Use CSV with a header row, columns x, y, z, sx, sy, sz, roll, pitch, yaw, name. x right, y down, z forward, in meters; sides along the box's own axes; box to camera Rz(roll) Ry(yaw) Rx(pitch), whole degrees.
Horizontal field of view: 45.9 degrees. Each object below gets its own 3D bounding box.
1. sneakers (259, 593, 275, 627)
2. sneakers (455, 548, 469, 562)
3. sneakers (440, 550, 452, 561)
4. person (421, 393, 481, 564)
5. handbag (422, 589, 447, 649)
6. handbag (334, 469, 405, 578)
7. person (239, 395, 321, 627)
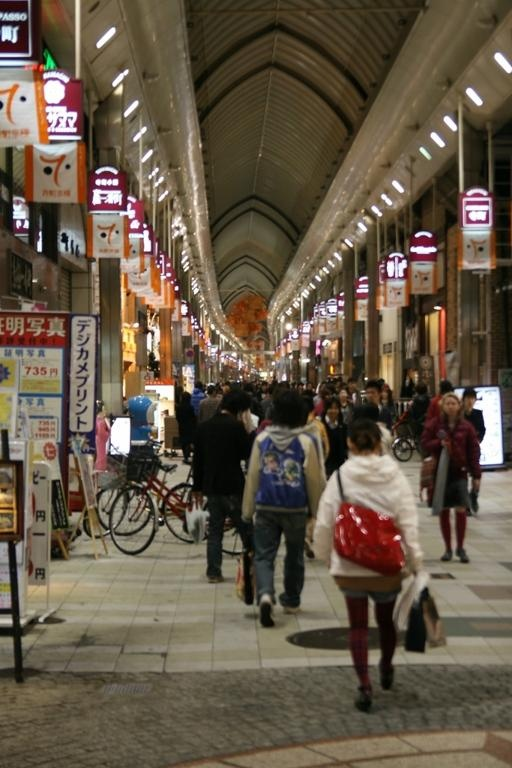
x,y,z,sx,sy,sz,roll,pitch,yaw,name
0.062,1.428,3.730,0.077,0.251,0.105,-1,12,-3,sneakers
1.981,1.645,5.794,0.062,0.086,0.191,-1,-11,-1,sneakers
1.844,1.652,5.859,0.059,0.125,0.170,-4,-9,16,sneakers
1.843,0.889,5.716,0.521,1.584,0.615,-4,-10,24,person
0.729,0.957,2.468,0.065,0.261,0.256,-4,-10,20,handbag
0.427,0.487,2.327,0.130,0.446,0.310,-18,15,-42,handbag
0.174,0.792,3.968,0.530,1.517,0.581,0,-9,-2,person
